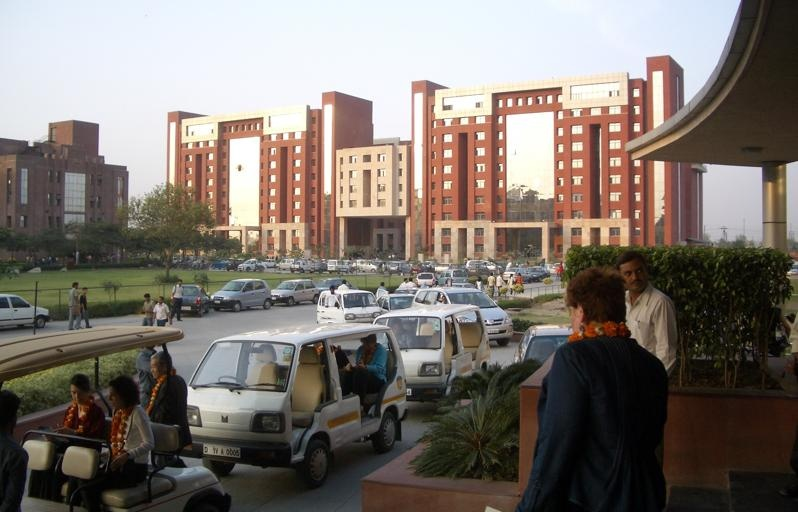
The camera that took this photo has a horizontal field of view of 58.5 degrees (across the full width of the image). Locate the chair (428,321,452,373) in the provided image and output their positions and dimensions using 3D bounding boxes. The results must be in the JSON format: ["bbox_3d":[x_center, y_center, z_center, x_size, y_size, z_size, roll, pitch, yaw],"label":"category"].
[{"bbox_3d":[0.988,1.975,15.681,0.479,1.056,1.306,-2,-1,5],"label":"chair"}]

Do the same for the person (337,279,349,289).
[{"bbox_3d":[-2.997,1.577,38.528,0.630,0.567,1.109,0,-4,-2],"label":"person"}]

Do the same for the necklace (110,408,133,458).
[{"bbox_3d":[-3.529,2.199,8.994,0.166,0.498,0.363,4,13,-10],"label":"necklace"}]

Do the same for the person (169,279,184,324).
[{"bbox_3d":[-10.392,2.090,33.389,0.399,1.420,1.683,-1,-1,-20],"label":"person"}]

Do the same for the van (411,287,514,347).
[{"bbox_3d":[2.345,2.071,25.844,1.862,1.490,3.377,1,-5,-14],"label":"van"}]

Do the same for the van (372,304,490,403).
[{"bbox_3d":[0.817,2.095,16.253,1.568,1.465,2.737,-3,-4,20],"label":"van"}]

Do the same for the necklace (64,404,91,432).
[{"bbox_3d":[-4.249,2.139,9.392,0.296,0.411,0.185,1,-5,29],"label":"necklace"}]

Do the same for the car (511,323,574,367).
[{"bbox_3d":[2.903,1.748,14.324,0.994,0.892,1.740,-1,-5,2],"label":"car"}]

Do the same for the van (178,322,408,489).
[{"bbox_3d":[-1.687,2.475,12.068,1.660,2.055,3.599,-2,-1,41],"label":"van"}]

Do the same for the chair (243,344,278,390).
[{"bbox_3d":[-2.184,1.771,11.481,0.513,0.737,0.645,2,2,7],"label":"chair"}]
